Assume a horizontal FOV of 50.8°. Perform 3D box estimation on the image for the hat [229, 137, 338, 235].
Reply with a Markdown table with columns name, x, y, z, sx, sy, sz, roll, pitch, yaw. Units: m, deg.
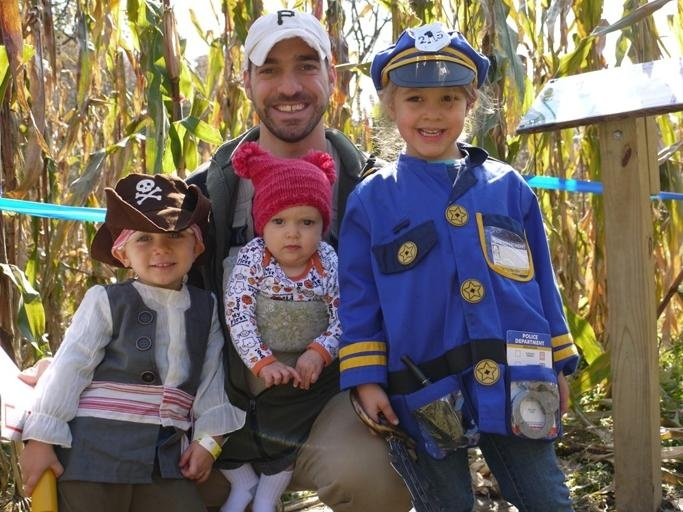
| name | x | y | z | sx | sy | sz | roll | pitch | yaw |
| --- | --- | --- | --- | --- | --- | --- | --- | --- | --- |
| hat | -0.228 | -0.306 | 3.152 | 0.449 | 0.420 | 0.353 | -4 | -2 | -18 |

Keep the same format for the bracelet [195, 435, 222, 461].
| name | x | y | z | sx | sy | sz | roll | pitch | yaw |
| --- | --- | --- | --- | --- | --- | --- | --- | --- | --- |
| bracelet | -0.530 | 0.753 | 2.843 | 0.066 | 0.044 | 0.074 | 35 | -16 | 37 |

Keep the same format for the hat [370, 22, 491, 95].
| name | x | y | z | sx | sy | sz | roll | pitch | yaw |
| --- | --- | --- | --- | --- | --- | --- | --- | --- | --- |
| hat | 0.377 | -0.825 | 3.039 | 0.494 | 0.274 | 0.615 | 2 | 6 | 9 |

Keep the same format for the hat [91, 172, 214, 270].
| name | x | y | z | sx | sy | sz | roll | pitch | yaw |
| --- | --- | --- | --- | --- | --- | --- | --- | --- | --- |
| hat | -0.789 | -0.207 | 2.929 | 0.331 | 0.229 | 0.478 | -7 | -20 | -18 |
